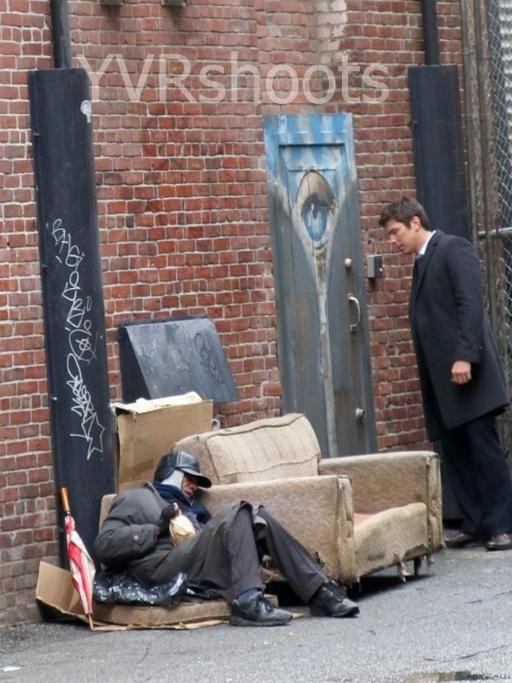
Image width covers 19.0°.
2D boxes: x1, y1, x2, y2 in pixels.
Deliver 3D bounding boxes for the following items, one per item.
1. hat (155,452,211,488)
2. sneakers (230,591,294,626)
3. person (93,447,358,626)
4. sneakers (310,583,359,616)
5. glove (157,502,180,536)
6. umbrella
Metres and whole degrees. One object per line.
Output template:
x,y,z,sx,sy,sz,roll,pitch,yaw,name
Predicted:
-0.380,0.668,7.964,0.220,0.156,0.172,2,-13,24,hat
0.031,1.316,7.451,0.301,0.205,0.143,-2,-5,12,sneakers
-0.121,0.965,7.621,1.208,0.937,0.681,1,-6,32,person
0.373,1.286,7.549,0.103,0.163,0.282,-8,-3,-40,sneakers
-0.446,0.904,7.737,0.051,0.148,0.105,27,16,-1,glove
-0.921,1.071,7.853,0.122,0.764,0.109,5,-37,-29,umbrella
